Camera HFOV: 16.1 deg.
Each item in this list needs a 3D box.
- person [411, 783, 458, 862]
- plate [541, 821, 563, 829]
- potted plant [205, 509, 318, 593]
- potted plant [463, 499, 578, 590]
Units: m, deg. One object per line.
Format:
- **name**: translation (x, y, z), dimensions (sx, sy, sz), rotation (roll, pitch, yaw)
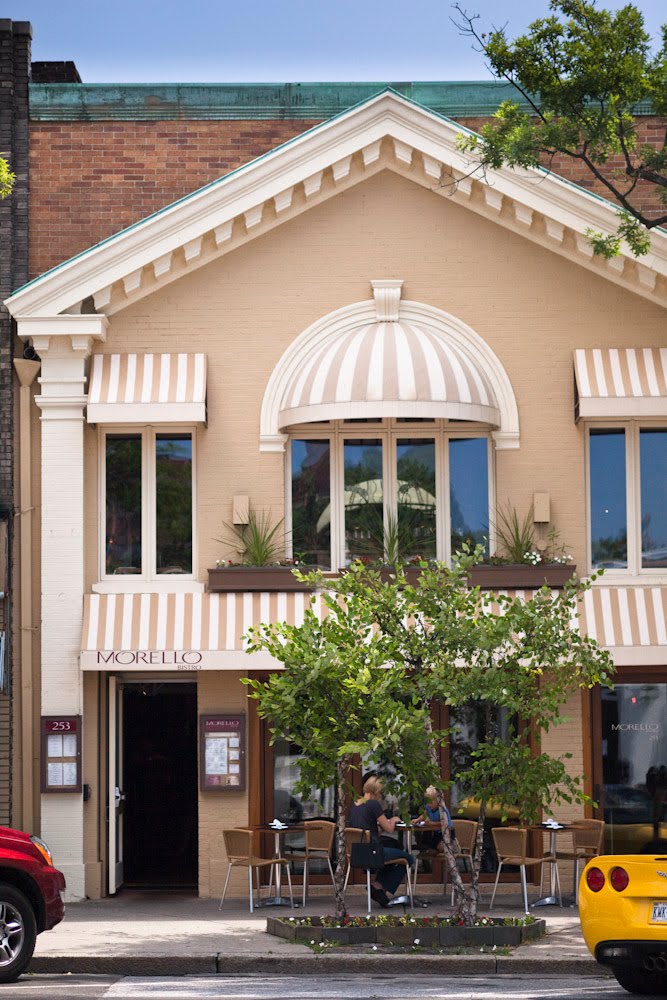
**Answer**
- **person**: translation (1.151, 3.779, 26.285), dimensions (0.389, 1.165, 0.622), rotation (-13, -15, 42)
- **plate**: translation (2.472, 3.648, 26.332), dimensions (0.132, 0.065, 0.183), rotation (2, -5, -3)
- **potted plant**: translation (-0.885, 0.704, 27.621), dimensions (1.129, 1.105, 0.755), rotation (0, -16, -3)
- **potted plant**: translation (2.234, 0.706, 27.644), dimensions (1.084, 1.012, 0.674), rotation (-1, -11, 11)
